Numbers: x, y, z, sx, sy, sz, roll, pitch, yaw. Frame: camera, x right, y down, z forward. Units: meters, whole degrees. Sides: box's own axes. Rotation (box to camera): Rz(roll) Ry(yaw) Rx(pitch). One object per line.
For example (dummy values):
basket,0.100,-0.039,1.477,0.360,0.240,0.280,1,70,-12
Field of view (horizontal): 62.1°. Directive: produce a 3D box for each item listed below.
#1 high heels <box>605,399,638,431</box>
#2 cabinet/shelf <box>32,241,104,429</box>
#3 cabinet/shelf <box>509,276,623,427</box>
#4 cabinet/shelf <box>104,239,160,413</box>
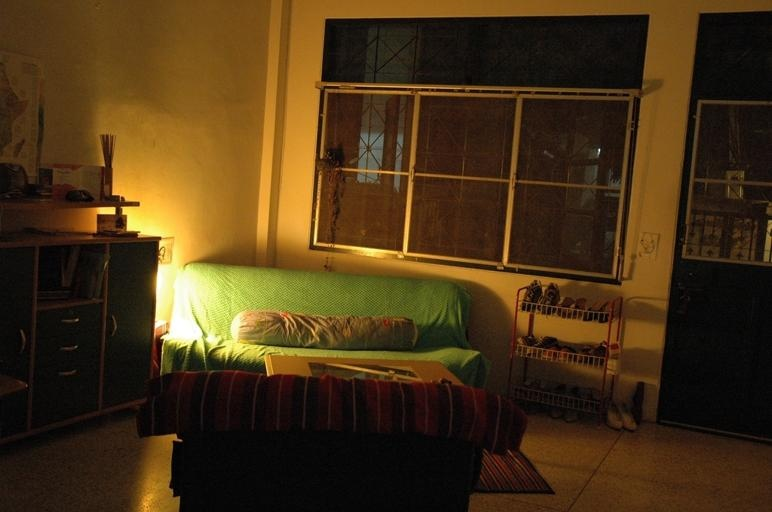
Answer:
high heels,2.112,1.439,5.763,0.258,0.187,0.241,5,6,16
cabinet/shelf,-2.646,0.640,5.079,0.521,1.347,0.655,10,8,26
cabinet/shelf,1.673,0.864,5.819,1.244,1.419,0.605,6,-2,19
cabinet/shelf,-2.115,0.538,5.386,0.208,1.376,0.559,6,6,23
